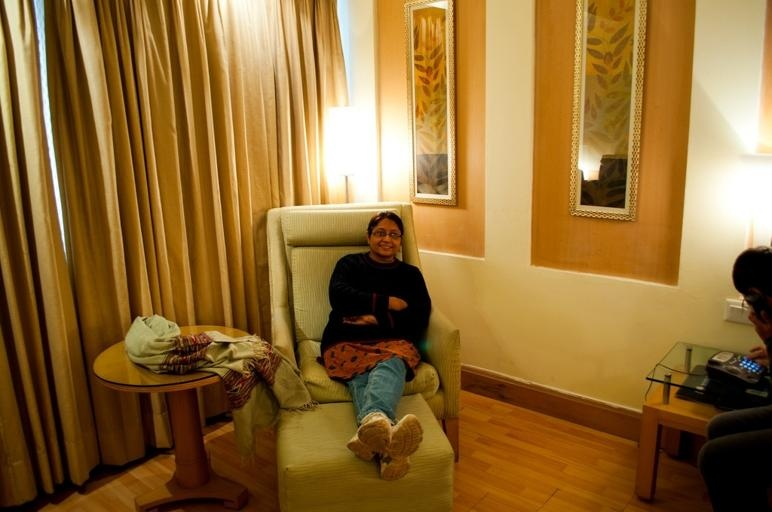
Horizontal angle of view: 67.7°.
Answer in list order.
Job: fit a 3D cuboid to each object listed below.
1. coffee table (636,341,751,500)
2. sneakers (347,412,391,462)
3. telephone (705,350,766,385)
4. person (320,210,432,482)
[{"bbox_3d":[1.618,0.900,3.314,0.731,0.758,0.711,8,14,32],"label":"coffee table"},{"bbox_3d":[-0.083,0.886,2.820,0.145,0.254,0.104,43,13,-2],"label":"sneakers"},{"bbox_3d":[1.787,0.572,2.929,0.167,0.065,0.153,-28,19,-37],"label":"telephone"},{"bbox_3d":[-0.034,0.366,3.169,0.592,1.011,1.601,5,13,-5],"label":"person"}]
